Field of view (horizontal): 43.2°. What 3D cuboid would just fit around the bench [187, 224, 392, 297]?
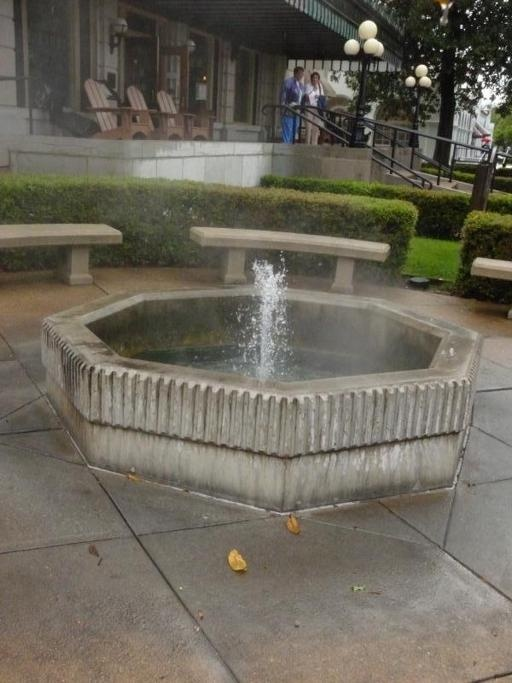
[{"bbox_3d":[0.323,-0.878,7.001,2.034,0.605,0.904,3,12,3],"label":"bench"}]

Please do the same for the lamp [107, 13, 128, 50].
[{"bbox_3d":[-3.054,-6.627,14.134,0.344,0.702,1.432,-1,13,-13],"label":"lamp"}]
